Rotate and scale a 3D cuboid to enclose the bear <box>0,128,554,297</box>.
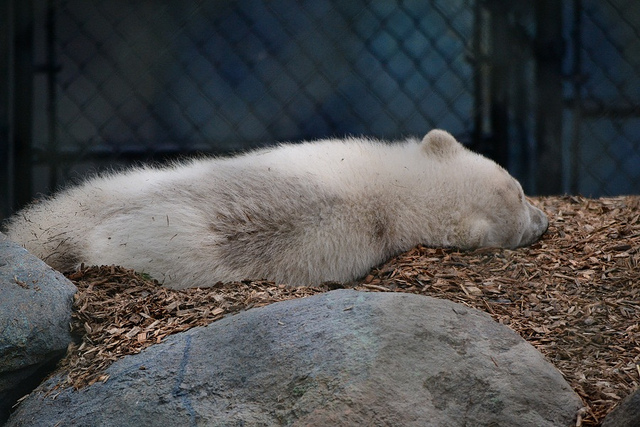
[{"bbox_3d":[-0.244,0.068,6.833,3.917,0.837,1.243,-8,31,-5],"label":"bear"}]
